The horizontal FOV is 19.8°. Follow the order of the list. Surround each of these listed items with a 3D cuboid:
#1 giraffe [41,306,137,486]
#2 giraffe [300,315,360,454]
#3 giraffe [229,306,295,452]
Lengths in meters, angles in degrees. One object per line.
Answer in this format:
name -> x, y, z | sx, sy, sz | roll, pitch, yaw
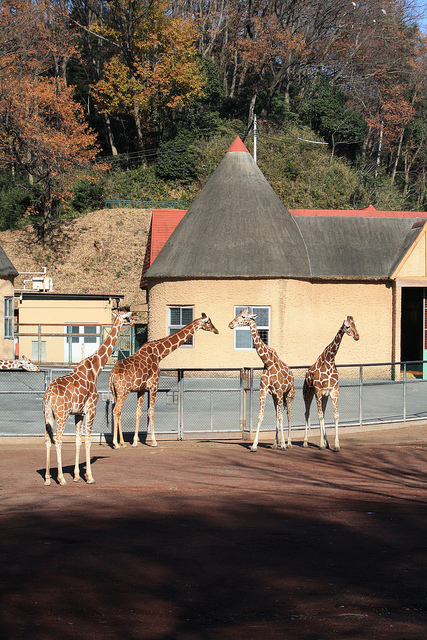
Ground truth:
giraffe -> -2.516, 1.416, 24.086 | 1.605, 3.319, 3.412 | -1, 9, -7
giraffe -> 2.493, 1.260, 27.277 | 1.115, 3.050, 3.077 | 1, 9, 4
giraffe -> 1.127, 1.292, 26.714 | 1.162, 3.109, 1.853 | 0, 8, 3
